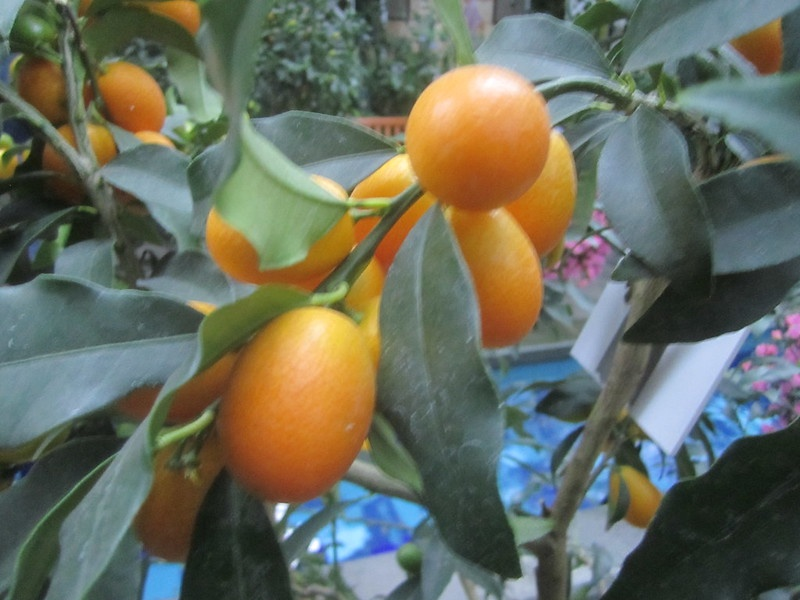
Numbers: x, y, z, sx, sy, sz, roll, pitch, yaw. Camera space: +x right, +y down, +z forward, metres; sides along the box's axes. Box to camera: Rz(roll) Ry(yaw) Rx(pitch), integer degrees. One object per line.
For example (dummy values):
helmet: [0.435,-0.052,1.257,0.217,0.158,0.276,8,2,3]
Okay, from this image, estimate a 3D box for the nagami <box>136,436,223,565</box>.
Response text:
nagami: [-0.146,0.139,0.587,0.057,0.098,0.037,7,13,30]

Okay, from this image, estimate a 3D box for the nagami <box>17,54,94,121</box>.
nagami: [-0.304,-0.192,0.818,0.054,0.073,0.058,9,18,-2]

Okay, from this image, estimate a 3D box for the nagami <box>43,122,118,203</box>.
nagami: [-0.281,-0.129,0.806,0.046,0.060,0.046,-14,-14,38]

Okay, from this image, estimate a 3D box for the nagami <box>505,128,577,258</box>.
nagami: [0.084,-0.070,0.597,0.053,0.077,0.041,-8,7,-21]

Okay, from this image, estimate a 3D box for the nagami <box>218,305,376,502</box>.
nagami: [-0.061,0.064,0.574,0.092,0.132,0.099,12,10,-11]

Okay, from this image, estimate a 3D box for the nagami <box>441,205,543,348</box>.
nagami: [0.063,-0.011,0.585,0.062,0.096,0.037,-5,12,-27]

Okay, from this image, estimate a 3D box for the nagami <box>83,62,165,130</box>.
nagami: [-0.245,-0.184,0.813,0.045,0.063,0.047,-30,16,11]
